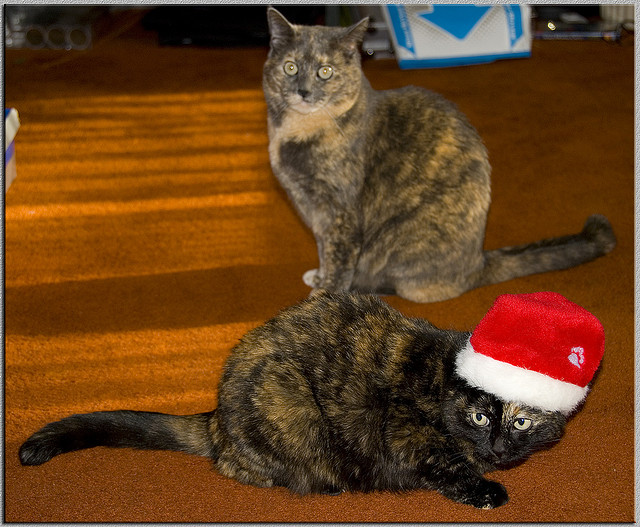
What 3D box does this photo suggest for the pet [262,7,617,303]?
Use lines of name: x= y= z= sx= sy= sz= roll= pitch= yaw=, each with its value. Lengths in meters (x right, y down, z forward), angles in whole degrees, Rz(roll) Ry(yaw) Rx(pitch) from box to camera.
pet: x=0.270 y=-0.254 z=1.665 sx=0.818 sy=0.605 sz=0.421 roll=-1 pitch=35 yaw=-6

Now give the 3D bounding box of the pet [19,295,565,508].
pet: x=-0.163 y=0.311 z=1.689 sx=1.400 sy=0.462 sz=0.445 roll=1 pitch=-5 yaw=2
